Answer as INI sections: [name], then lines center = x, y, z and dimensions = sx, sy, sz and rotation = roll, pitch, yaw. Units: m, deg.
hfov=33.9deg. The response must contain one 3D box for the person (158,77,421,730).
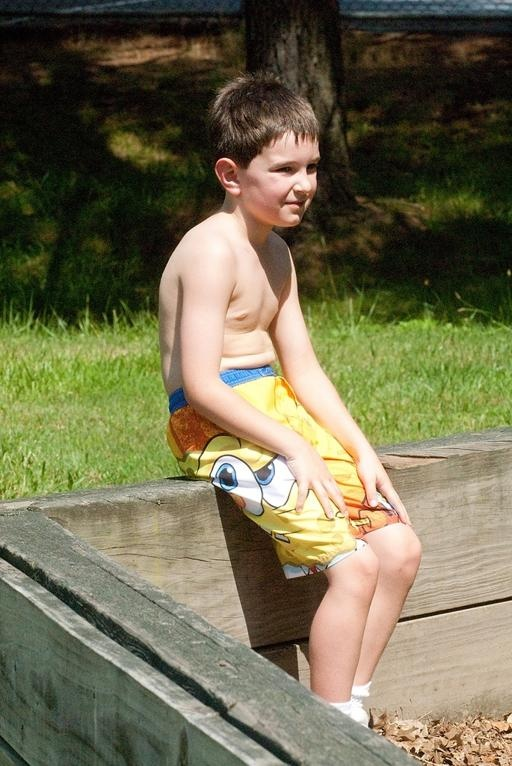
[person]
center = 0.048, -0.038, 1.422
dimensions = 0.398, 1.055, 0.652
rotation = -1, 10, -11
